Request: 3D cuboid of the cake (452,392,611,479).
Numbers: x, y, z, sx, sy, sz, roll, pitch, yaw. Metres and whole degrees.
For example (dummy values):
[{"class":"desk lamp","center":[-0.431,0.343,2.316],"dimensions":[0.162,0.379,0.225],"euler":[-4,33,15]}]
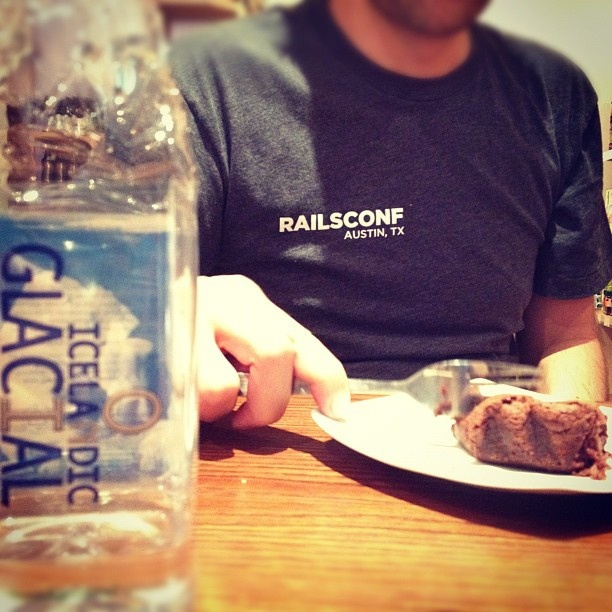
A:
[{"class":"cake","center":[0.181,0.102,0.549],"dimensions":[0.084,0.059,0.028],"euler":[5,98,22]}]
